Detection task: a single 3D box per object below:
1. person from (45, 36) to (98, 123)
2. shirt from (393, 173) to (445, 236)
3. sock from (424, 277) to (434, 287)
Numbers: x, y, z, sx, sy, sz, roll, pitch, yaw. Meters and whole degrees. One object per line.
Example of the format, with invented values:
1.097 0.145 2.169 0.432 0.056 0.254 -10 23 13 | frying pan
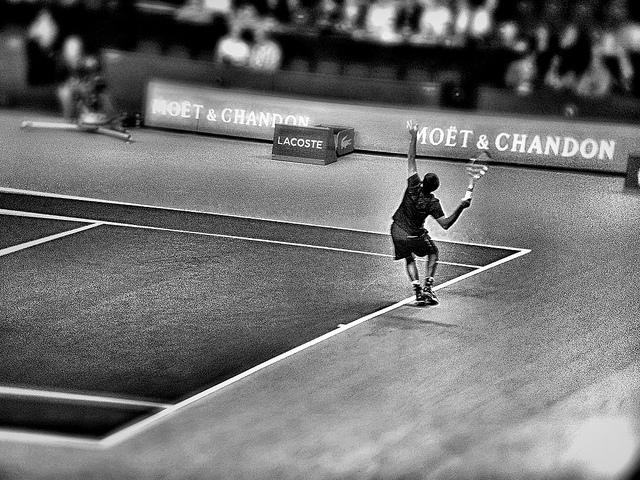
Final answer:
-5.244 -3.306 10.778 0.833 1.984 0.258 0 -9 9 | person
0.977 -0.347 5.217 0.480 0.612 0.213 0 -9 6 | shirt
1.099 0.413 5.234 0.073 0.086 0.083 1 -5 1 | sock
